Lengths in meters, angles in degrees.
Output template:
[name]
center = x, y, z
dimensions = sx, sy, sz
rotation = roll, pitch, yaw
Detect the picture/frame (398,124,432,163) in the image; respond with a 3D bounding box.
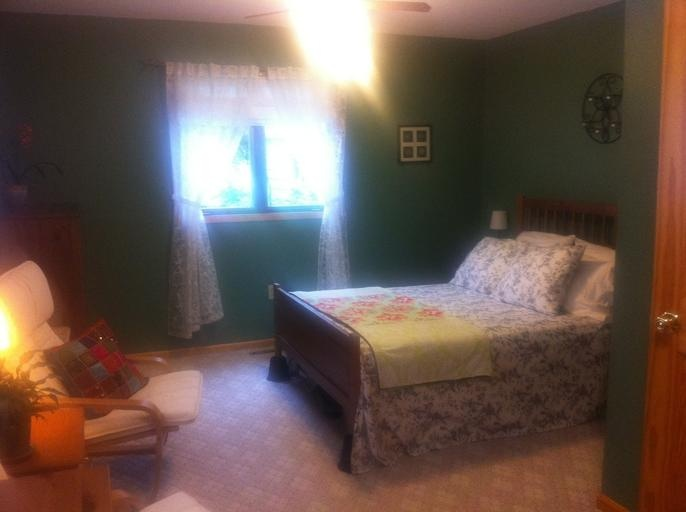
[picture/frame]
center = 0.745, -1.208, 5.569
dimensions = 0.386, 0.394, 0.039
rotation = -1, 6, -22

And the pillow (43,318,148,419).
[pillow]
center = -1.432, 0.650, 3.107
dimensions = 0.151, 0.478, 0.457
rotation = -35, -6, 28

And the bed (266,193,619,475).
[bed]
center = 0.794, 0.306, 4.477
dimensions = 2.852, 1.439, 2.395
rotation = -5, 13, -17
